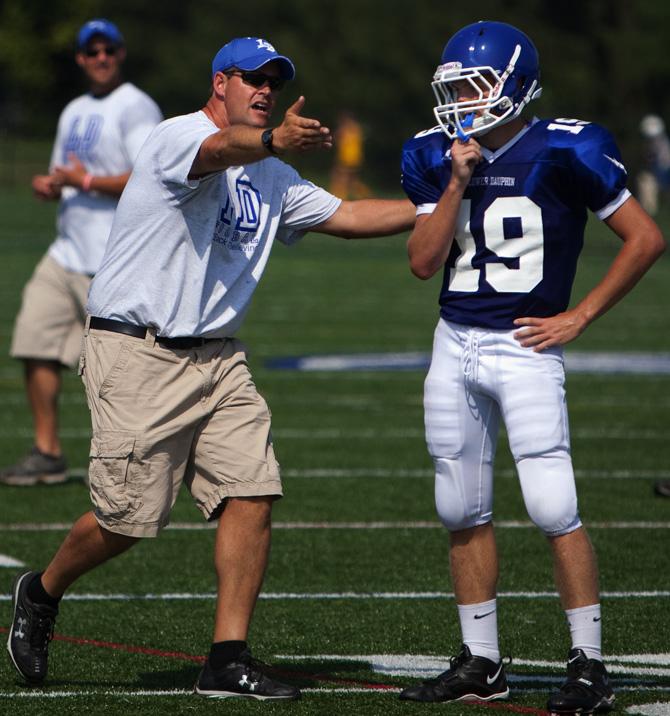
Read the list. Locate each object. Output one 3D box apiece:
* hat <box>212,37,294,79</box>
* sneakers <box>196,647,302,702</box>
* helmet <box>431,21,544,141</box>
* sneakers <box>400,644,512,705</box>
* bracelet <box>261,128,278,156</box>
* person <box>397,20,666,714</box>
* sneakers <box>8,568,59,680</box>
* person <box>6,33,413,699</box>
[{"bbox_3d":[-0.266,-0.900,4.187,0.144,0.076,0.197,-1,5,-36],"label":"hat"},{"bbox_3d":[-0.257,0.920,4.007,0.362,0.154,0.115,2,-1,1],"label":"sneakers"},{"bbox_3d":[0.450,-0.823,4.075,0.387,0.298,0.288,-16,12,-40],"label":"helmet"},{"bbox_3d":[0.373,0.931,4.050,0.394,0.157,0.122,1,-3,-8],"label":"sneakers"},{"bbox_3d":[-0.180,-0.587,3.759,0.046,0.063,0.061,-10,-7,23],"label":"bracelet"},{"bbox_3d":[0.514,0.009,3.996,0.792,1.977,0.603,4,9,22],"label":"person"},{"bbox_3d":[-0.920,0.808,4.179,0.156,0.319,0.112,-35,-39,31],"label":"sneakers"},{"bbox_3d":[-0.394,0.112,4.134,1.169,1.697,0.768,-3,9,-18],"label":"person"}]
